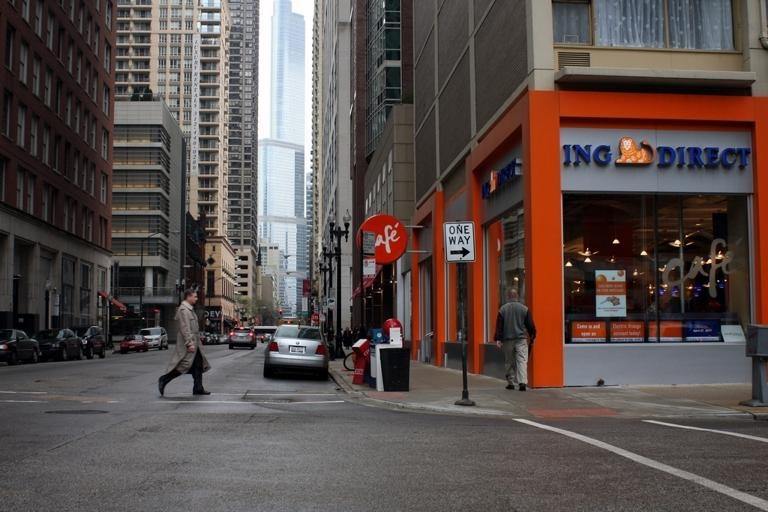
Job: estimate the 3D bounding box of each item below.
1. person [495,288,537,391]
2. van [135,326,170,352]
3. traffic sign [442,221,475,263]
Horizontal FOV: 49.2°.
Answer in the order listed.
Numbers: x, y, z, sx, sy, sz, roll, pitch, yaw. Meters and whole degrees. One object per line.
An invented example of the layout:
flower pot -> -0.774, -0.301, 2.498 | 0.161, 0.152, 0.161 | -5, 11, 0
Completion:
person -> 3.577, 2.259, 22.681 | 1.076, 2.727, 0.851 | -1, -6, 11
van -> -17.814, 6.356, 64.940 | 1.520, 1.301, 2.838 | -1, -10, 0
traffic sign -> 1.855, -0.344, 20.317 | 0.749, 1.141, 0.096 | -2, 31, 9
